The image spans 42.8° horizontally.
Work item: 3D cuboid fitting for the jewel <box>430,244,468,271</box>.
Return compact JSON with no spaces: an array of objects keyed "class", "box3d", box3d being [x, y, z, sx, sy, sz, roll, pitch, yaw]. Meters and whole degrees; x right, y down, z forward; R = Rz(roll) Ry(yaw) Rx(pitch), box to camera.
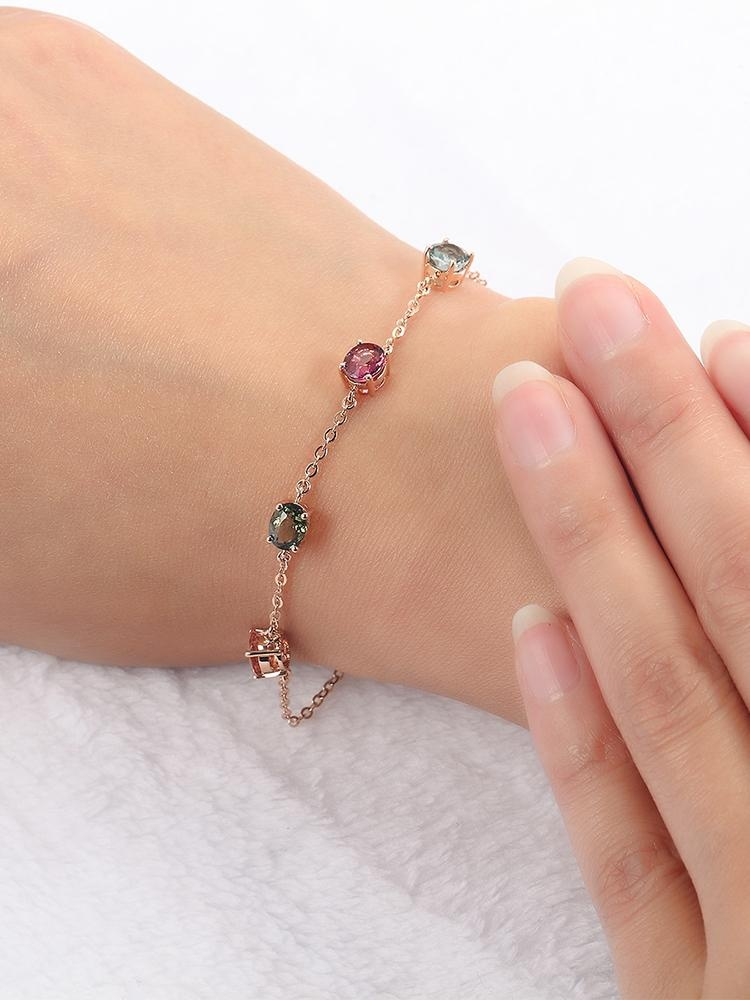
[{"class":"jewel","box3d":[0.077,-0.259,1.044,0.038,0.018,0.035,10,56,-10]}]
